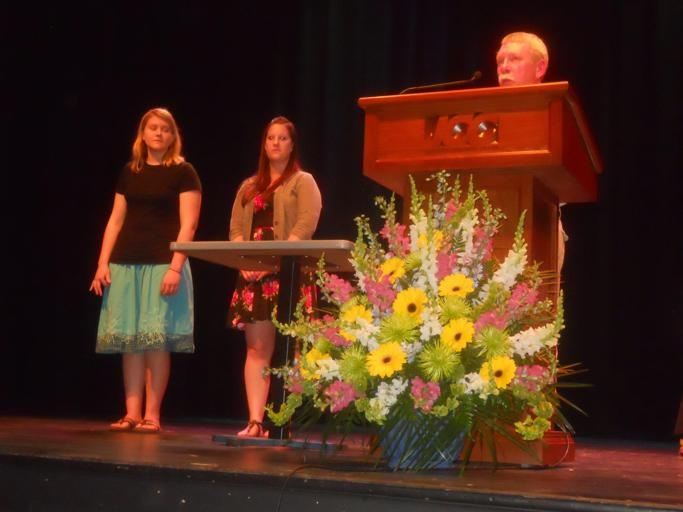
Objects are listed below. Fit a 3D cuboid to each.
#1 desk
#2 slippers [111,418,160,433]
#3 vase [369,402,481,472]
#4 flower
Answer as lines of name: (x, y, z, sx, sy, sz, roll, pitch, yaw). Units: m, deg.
desk: (-0.256, 0.453, 4.425, 0.893, 0.894, 0.928, -5, -13, 32)
slippers: (-1.046, 0.850, 4.704, 0.255, 0.065, 0.136, 0, -6, 16)
vase: (0.324, 0.617, 3.447, 0.371, 0.236, 0.371, 3, 2, 24)
flower: (0.423, 0.357, 3.776, 0.937, 1.123, 1.167, -6, -15, 29)
